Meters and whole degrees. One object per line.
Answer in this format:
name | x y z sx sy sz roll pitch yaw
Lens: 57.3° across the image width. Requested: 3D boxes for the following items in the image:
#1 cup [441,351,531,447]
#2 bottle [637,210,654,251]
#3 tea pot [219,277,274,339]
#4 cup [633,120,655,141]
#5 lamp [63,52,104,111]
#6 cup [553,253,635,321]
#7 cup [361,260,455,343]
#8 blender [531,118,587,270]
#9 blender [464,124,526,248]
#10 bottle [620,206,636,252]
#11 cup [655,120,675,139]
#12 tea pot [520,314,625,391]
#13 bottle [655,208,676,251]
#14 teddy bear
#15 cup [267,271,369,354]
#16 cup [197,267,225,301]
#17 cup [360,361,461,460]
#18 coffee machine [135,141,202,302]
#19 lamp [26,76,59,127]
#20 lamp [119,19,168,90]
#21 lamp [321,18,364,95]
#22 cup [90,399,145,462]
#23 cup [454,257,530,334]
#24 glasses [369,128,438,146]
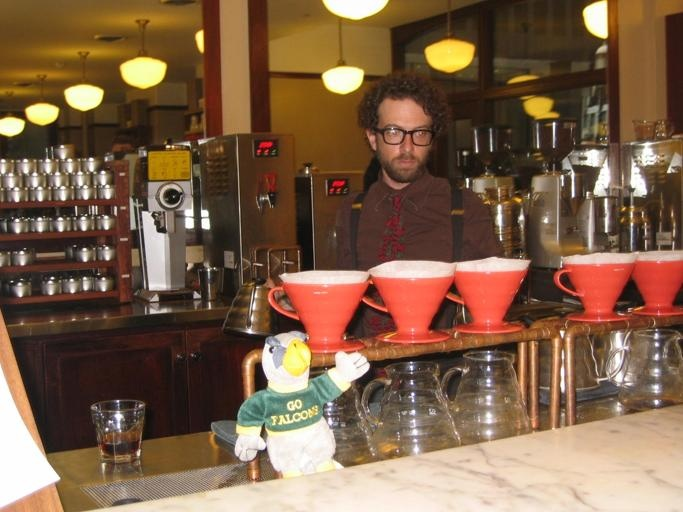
cup | 0.266 0.263 1.149 0.148 0.161 0.158 -2 -1 0
bottle | 1.610 -0.141 3.289 0.080 0.210 0.291 6 13 26
tea pot | -0.223 0.131 1.573 0.124 0.140 0.146 8 -10 -6
cup | 1.665 -0.688 3.453 0.110 0.108 0.323 5 13 23
lamp | -2.989 -2.015 7.259 0.465 0.688 0.450 -4 5 -27
cup | 0.505 0.059 1.254 0.179 0.140 0.141 -1 -5 -3
cup | 0.124 0.082 1.117 0.168 0.137 0.116 0 12 -3
blender | 1.025 -0.301 2.975 0.261 0.673 0.784 4 13 16
blender | 0.677 -0.260 2.735 0.226 0.603 0.244 -8 14 -2
bottle | 1.503 -0.141 3.285 0.089 0.217 0.316 5 13 23
cup | 1.718 -0.656 3.324 0.108 0.104 0.106 -1 0 0
tea pot | 0.561 0.214 1.439 0.283 0.183 0.161 1 -2 -6
bottle | 1.723 -0.144 3.319 0.125 0.218 0.090 12 17 43
teddy bear | -0.058 0.230 0.967 0.186 0.226 0.159 4 13 16
cup | -0.022 0.094 1.091 0.184 0.128 0.161 -11 -14 37
cup | -0.659 0.148 3.184 0.142 0.154 0.136 -1 2 0
cup | 0.125 0.281 1.091 0.167 0.168 0.156 -4 -10 -1
coffee machine | -0.888 -0.177 3.147 0.308 0.735 0.337 -4 13 -18
lamp | -4.164 -2.163 8.685 0.437 0.693 0.448 6 12 14
lamp | -1.927 -1.948 6.079 0.488 0.685 0.481 -2 3 4
lamp | -0.016 -1.894 5.658 0.359 0.838 0.346 -3 -7 -9
cup | -0.520 0.428 1.470 0.133 0.134 0.138 -9 -22 -3
cup | 0.273 0.082 1.180 0.143 0.119 0.138 0 0 0
glasses | 0.200 -0.374 1.978 0.173 0.060 0.057 1 12 2
